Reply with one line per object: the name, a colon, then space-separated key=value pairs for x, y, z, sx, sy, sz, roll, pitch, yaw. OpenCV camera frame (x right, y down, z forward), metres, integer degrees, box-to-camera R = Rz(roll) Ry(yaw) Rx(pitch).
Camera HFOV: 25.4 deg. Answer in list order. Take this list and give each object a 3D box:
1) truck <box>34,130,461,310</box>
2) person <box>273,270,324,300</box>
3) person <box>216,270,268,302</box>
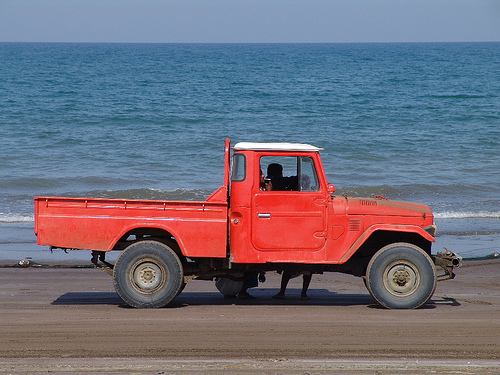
truck: x=0.387 y=1.113 z=32.774 sx=13.641 sy=4.401 sz=4.540 roll=-1 pitch=3 yaw=-2
person: x=1.252 y=2.768 z=31.526 sx=1.528 sy=0.735 sz=0.716 roll=0 pitch=-12 yaw=3
person: x=-0.207 y=2.540 z=31.550 sx=1.325 sy=0.978 sz=0.619 roll=8 pitch=39 yaw=-5
